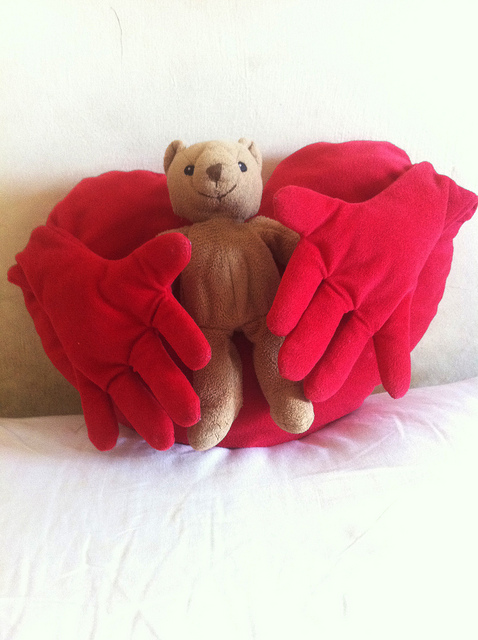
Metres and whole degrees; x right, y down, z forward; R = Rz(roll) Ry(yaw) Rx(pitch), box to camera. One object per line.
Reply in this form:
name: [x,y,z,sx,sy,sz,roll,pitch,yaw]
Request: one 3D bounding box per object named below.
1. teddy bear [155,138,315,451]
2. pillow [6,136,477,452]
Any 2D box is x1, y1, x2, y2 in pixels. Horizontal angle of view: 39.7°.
teddy bear: [-0.017,-0.027,0.937,0.288,0.374,0.149,-5,-3,-6]
pillow: [-0.018,-0.034,0.899,0.480,0.152,0.300,-6,75,-2]
